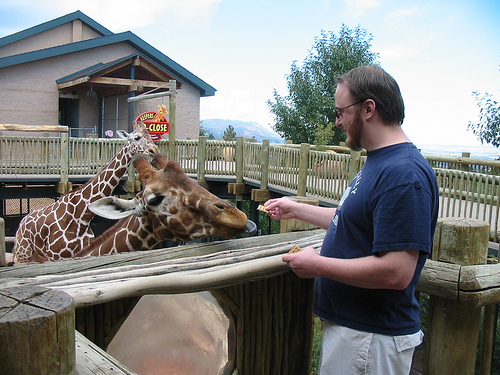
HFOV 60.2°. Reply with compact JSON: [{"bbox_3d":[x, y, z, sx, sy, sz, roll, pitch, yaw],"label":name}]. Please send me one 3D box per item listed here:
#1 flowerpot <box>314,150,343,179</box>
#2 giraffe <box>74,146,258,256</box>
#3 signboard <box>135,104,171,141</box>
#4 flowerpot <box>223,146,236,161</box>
[{"bbox_3d":[1.968,-0.544,10.722,0.260,0.674,1.152,-1,3,-16],"label":"flowerpot"},{"bbox_3d":[-0.747,0.221,3.499,1.351,0.759,0.875,-1,13,44],"label":"giraffe"},{"bbox_3d":[-3.340,-2.199,14.805,1.060,1.281,0.203,-1,25,-17],"label":"signboard"},{"bbox_3d":[-0.682,-1.109,14.626,0.397,0.491,0.437,1,-5,1],"label":"flowerpot"}]
